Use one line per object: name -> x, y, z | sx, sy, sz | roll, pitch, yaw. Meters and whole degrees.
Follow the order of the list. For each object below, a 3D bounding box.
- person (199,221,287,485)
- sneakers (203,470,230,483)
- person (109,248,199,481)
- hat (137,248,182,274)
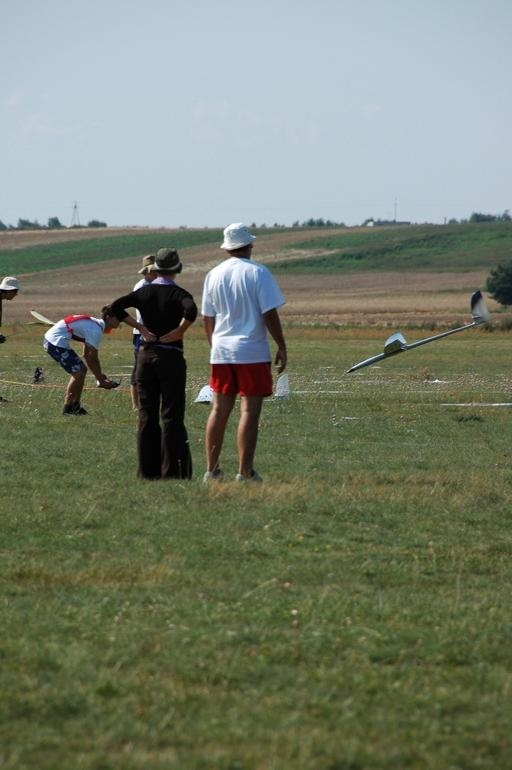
person -> -0.090, -0.192, 8.126 | 0.589, 1.856, 1.038 | -1, 11, 0
sneakers -> -0.288, 0.647, 8.182 | 0.064, 0.071, 0.183 | 3, 7, 23
person -> -0.703, -0.134, 8.318 | 0.587, 1.610, 0.684 | -2, 11, -5
hat -> -0.680, -0.900, 8.578 | 0.480, 0.190, 0.523 | 0, 3, 0
